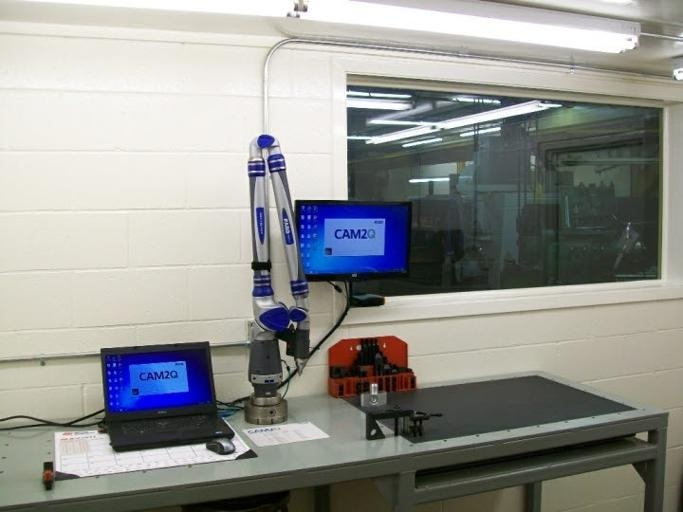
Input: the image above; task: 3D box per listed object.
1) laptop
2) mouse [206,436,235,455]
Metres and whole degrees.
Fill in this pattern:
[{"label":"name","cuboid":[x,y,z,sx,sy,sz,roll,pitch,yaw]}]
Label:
[{"label":"laptop","cuboid":[-0.746,0.552,2.379,0.460,0.287,0.409,-1,3,-21]},{"label":"mouse","cuboid":[-0.449,0.704,2.176,0.105,0.043,0.070,11,16,34]}]
